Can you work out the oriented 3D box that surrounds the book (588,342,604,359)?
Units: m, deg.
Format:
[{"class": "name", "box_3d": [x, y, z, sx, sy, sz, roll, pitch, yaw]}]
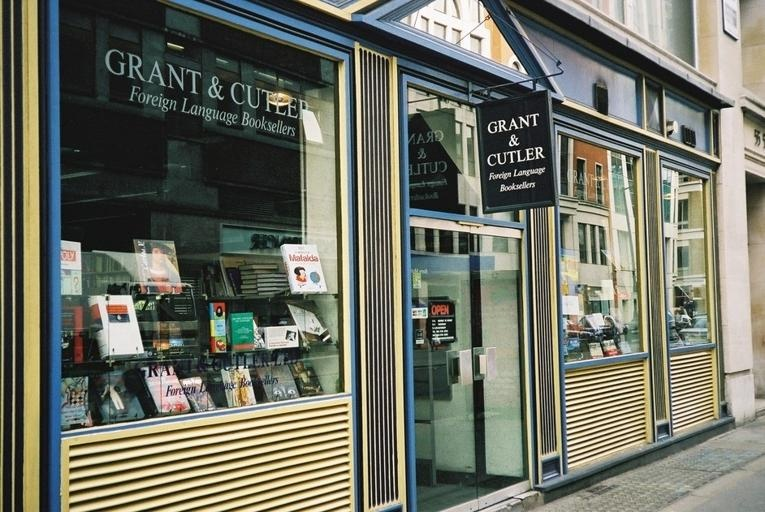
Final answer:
[{"class": "book", "box_3d": [2.905, 1.282, 10.808, 0.224, 0.227, 0.052, 7, -16, -36]}]

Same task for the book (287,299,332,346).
[{"class": "book", "box_3d": [-0.729, 0.670, 7.835, 0.394, 0.411, 0.105, -1, -13, -37]}]

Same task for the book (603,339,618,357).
[{"class": "book", "box_3d": [3.168, 1.282, 11.083, 0.232, 0.227, 0.059, 16, -23, -36]}]

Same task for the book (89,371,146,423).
[{"class": "book", "box_3d": [-2.274, 1.195, 6.714, 0.406, 0.409, 0.141, -12, -5, -33]}]

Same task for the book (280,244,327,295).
[{"class": "book", "box_3d": [-0.764, 0.119, 7.803, 0.459, 0.470, 0.105, -9, -7, -40]}]

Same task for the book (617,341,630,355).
[{"class": "book", "box_3d": [3.428, 1.311, 11.335, 0.138, 0.140, 0.250, -11, -15, 30]}]

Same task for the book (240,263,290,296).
[{"class": "book", "box_3d": [-1.160, 0.291, 7.624, 0.279, 0.262, 0.412, -8, -7, 38]}]

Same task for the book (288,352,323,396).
[{"class": "book", "box_3d": [-0.752, 1.170, 7.748, 0.336, 0.333, 0.077, -8, -23, -42]}]

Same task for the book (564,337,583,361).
[{"class": "book", "box_3d": [2.476, 1.202, 10.395, 0.025, 0.229, 0.462, -10, -5, 39]}]

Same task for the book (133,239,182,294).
[{"class": "book", "box_3d": [-2.018, 0.100, 7.054, 0.028, 0.657, 0.498, -25, -16, 40]}]

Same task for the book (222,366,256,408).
[{"class": "book", "box_3d": [-1.337, 1.213, 7.329, 0.048, 0.485, 0.364, -26, -16, 37]}]

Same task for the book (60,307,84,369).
[{"class": "book", "box_3d": [-2.562, 0.662, 6.585, 0.038, 0.478, 0.205, -10, -5, 39]}]

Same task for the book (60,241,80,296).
[{"class": "book", "box_3d": [-2.582, 0.105, 6.601, 0.071, 0.452, 0.186, -9, -5, 29]}]

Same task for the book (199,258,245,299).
[{"class": "book", "box_3d": [-1.466, 0.208, 7.404, 0.354, 0.357, 0.082, 1, -6, -35]}]
